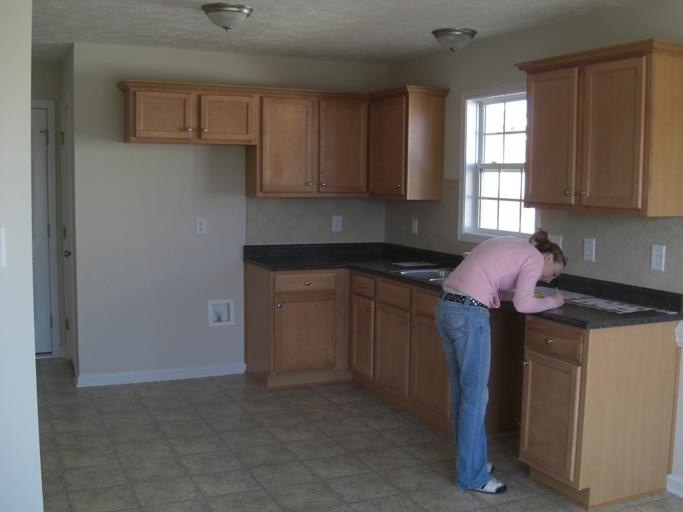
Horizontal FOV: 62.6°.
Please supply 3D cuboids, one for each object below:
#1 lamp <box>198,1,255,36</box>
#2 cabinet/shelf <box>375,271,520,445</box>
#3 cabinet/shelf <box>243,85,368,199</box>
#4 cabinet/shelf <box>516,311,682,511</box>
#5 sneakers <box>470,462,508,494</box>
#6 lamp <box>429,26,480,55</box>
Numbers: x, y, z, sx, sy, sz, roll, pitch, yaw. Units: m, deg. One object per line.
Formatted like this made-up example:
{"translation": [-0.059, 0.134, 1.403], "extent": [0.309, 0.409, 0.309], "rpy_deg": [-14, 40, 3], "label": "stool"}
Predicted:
{"translation": [-0.763, -1.592, 3.746], "extent": [0.266, 0.130, 0.265], "rpy_deg": [-1, 1, -23], "label": "lamp"}
{"translation": [0.750, 0.711, 3.810], "extent": [0.485, 1.003, 1.148], "rpy_deg": [0, 3, -24], "label": "cabinet/shelf"}
{"translation": [-0.357, -1.028, 5.074], "extent": [1.076, 0.874, 0.411], "rpy_deg": [0, 3, -19], "label": "cabinet/shelf"}
{"translation": [1.431, 0.821, 3.797], "extent": [1.029, 1.521, 0.915], "rpy_deg": [-1, 5, -18], "label": "cabinet/shelf"}
{"translation": [0.888, 1.340, 3.345], "extent": [0.220, 0.152, 0.097], "rpy_deg": [-8, 16, -23], "label": "sneakers"}
{"translation": [0.835, -1.591, 4.116], "extent": [0.295, 0.132, 0.186], "rpy_deg": [-2, 8, -20], "label": "lamp"}
